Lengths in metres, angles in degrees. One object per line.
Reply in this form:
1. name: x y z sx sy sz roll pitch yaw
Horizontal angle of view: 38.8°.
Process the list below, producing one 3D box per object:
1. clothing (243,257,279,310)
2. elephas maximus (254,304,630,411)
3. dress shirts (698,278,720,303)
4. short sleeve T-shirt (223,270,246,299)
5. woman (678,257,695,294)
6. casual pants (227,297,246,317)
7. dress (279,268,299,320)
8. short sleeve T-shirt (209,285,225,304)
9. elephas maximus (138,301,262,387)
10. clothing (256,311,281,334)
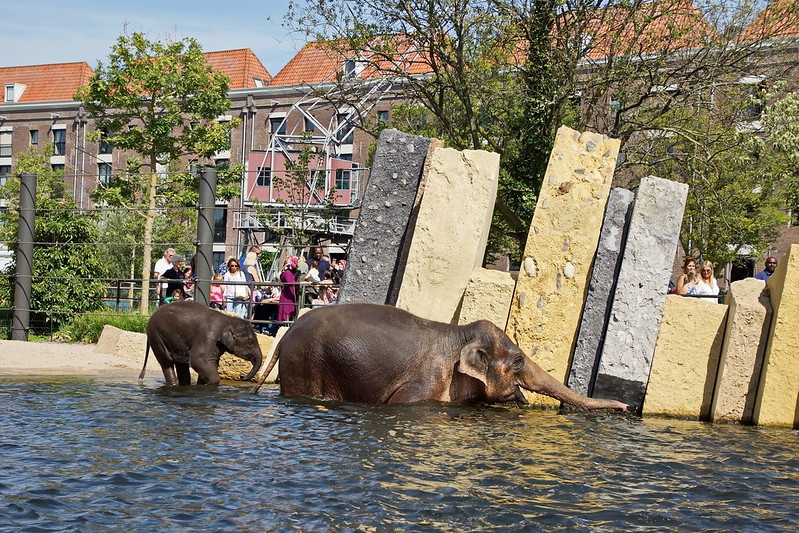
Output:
1. clothing: -2.900 0.393 23.819 0.672 0.485 1.496 -8 -30 -9
2. elephas maximus: 0.466 1.353 16.568 3.920 1.887 1.667 1 11 -1
3. dress shirts: 5.570 0.438 20.368 0.437 0.418 0.233 3 -8 -42
4. short sleeve T-shirt: -3.207 0.362 22.232 0.486 0.571 0.337 -1 -19 -7
5. woman: 5.601 0.183 22.031 0.324 0.651 1.443 3 -2 13
6. casual pants: -3.165 0.796 22.114 0.293 0.476 0.272 -5 17 -29
7. dress: -2.178 0.600 22.491 0.443 1.286 0.483 -1 4 -11
8. short sleeve T-shirt: -3.598 0.580 22.382 0.310 0.397 0.241 0 -31 0
9. elephas maximus: -3.173 1.349 18.137 2.057 1.480 0.873 6 7 1
10. clothing: -2.671 1.168 22.603 0.550 0.531 0.145 5 2 12
